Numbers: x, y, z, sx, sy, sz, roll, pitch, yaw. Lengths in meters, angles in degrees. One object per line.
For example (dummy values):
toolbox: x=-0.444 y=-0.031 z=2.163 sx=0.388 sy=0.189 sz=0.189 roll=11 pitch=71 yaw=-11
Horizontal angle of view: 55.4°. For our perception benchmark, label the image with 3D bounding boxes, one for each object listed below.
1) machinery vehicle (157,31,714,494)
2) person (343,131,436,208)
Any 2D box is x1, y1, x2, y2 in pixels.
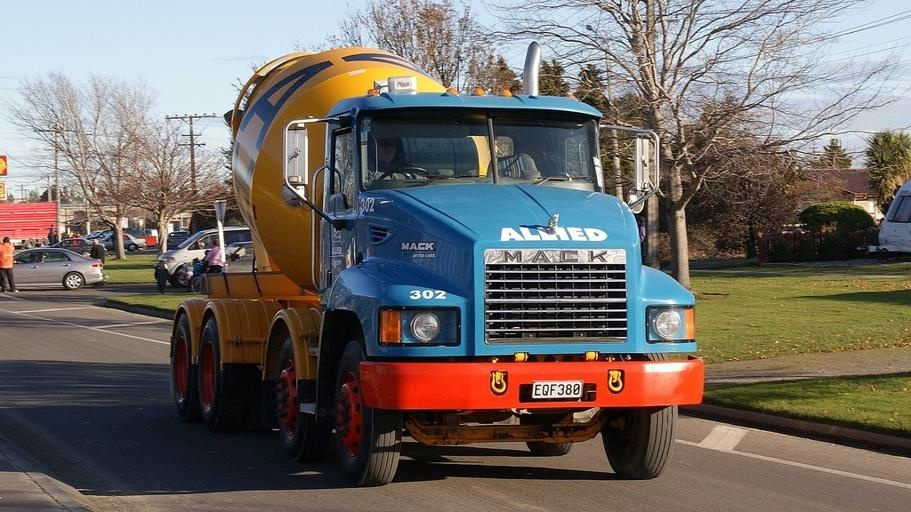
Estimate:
machinery vehicle: x=-0.572 y=-0.043 z=13.345 sx=7.863 sy=6.664 sz=3.636 roll=7 pitch=11 yaw=43
person: x=-1.047 y=-1.384 z=13.018 sx=0.859 sy=0.493 sz=1.069 roll=4 pitch=-18 yaw=-22
